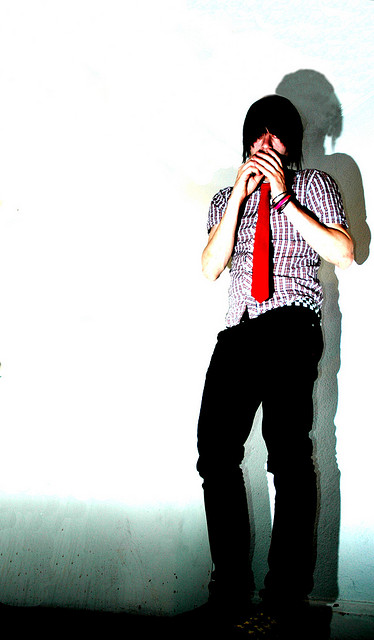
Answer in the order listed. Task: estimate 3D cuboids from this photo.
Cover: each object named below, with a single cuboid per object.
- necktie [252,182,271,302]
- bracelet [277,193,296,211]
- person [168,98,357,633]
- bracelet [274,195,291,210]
[{"bbox_3d":[0.165,-0.175,1.203,0.034,0.280,0.023,-8,-32,25],"label":"necktie"},{"bbox_3d":[0.228,-0.273,1.252,0.008,0.069,0.010,44,-4,13],"label":"bracelet"},{"bbox_3d":[0.198,0.026,1.270,0.314,1.198,0.518,6,1,-10],"label":"person"},{"bbox_3d":[0.221,-0.273,1.256,0.011,0.052,0.014,46,3,35],"label":"bracelet"}]
